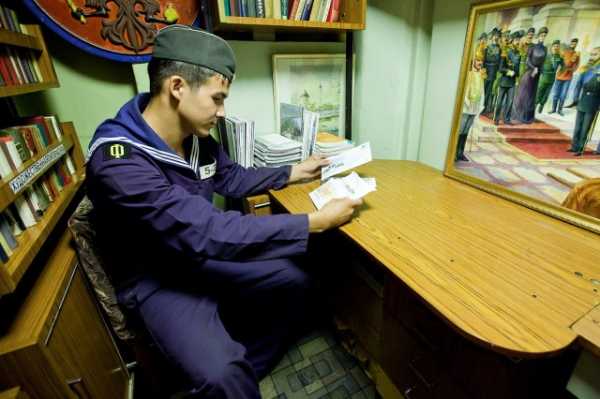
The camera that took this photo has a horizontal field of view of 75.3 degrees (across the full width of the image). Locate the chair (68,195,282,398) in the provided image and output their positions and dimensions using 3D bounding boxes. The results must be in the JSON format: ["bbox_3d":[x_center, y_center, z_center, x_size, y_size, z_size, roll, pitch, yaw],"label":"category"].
[{"bbox_3d":[-0.708,0.268,1.945,0.552,1.008,0.580,-17,41,-15],"label":"chair"}]

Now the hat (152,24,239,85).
[{"bbox_3d":[-0.494,-0.687,1.832,0.412,0.233,0.302,14,13,-13],"label":"hat"}]
